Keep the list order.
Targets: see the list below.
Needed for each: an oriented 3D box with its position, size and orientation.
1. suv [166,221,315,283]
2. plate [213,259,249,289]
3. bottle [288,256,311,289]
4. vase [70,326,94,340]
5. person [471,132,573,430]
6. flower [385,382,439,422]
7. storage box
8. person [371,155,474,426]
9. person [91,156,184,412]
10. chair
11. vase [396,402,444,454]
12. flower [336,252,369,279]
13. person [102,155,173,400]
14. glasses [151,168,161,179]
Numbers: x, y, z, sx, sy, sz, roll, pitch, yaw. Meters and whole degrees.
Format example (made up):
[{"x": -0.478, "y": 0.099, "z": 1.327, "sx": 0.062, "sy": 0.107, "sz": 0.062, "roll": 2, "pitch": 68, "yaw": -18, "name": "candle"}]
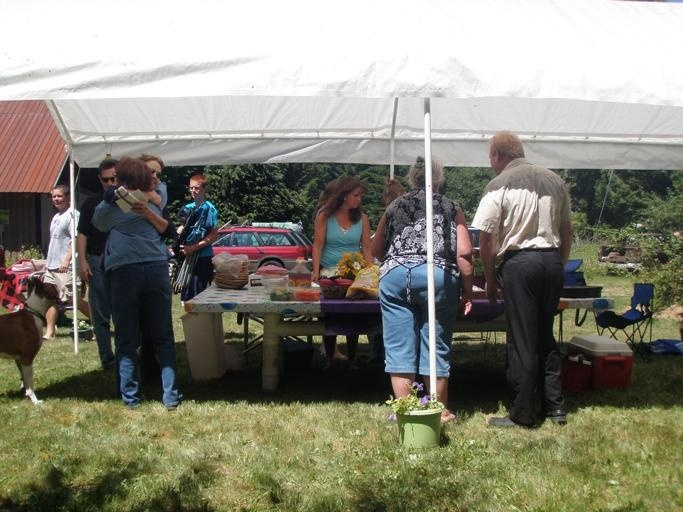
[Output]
[{"x": -1.637, "y": -0.172, "z": 17.408, "sx": 2.897, "sy": 1.260, "sz": 1.357, "roll": 2, "pitch": 1, "yaw": -3, "name": "suv"}, {"x": -1.080, "y": 0.190, "z": 8.280, "sx": 0.279, "sy": 0.239, "sz": 0.288, "roll": 2, "pitch": -5, "yaw": -11, "name": "plate"}, {"x": -0.390, "y": 0.167, "z": 8.171, "sx": 0.238, "sy": 0.478, "sz": 0.263, "roll": -1, "pitch": 2, "yaw": 6, "name": "bottle"}, {"x": -3.199, "y": 0.960, "z": 10.383, "sx": 0.194, "sy": 0.122, "sz": 0.157, "roll": -1, "pitch": 3, "yaw": -15, "name": "vase"}, {"x": 1.568, "y": 0.196, "z": 7.204, "sx": 0.808, "sy": 2.476, "sz": 0.563, "roll": 3, "pitch": 9, "yaw": 15, "name": "person"}, {"x": 0.533, "y": 1.199, "z": 6.863, "sx": 0.370, "sy": 0.271, "sz": 0.372, "roll": 2, "pitch": -7, "yaw": -29, "name": "flower"}, {"x": 2.590, "y": 1.009, "z": 8.308, "sx": 0.431, "sy": 0.474, "sz": 0.680, "roll": 1, "pitch": 0, "yaw": -1, "name": "storage box"}, {"x": 0.698, "y": 0.324, "z": 7.122, "sx": 0.876, "sy": 2.226, "sz": 0.670, "roll": 1, "pitch": 8, "yaw": 1, "name": "person"}, {"x": -1.844, "y": 0.262, "z": 7.641, "sx": 0.730, "sy": 2.309, "sz": 0.688, "roll": -6, "pitch": -11, "yaw": -1, "name": "person"}, {"x": 3.315, "y": 0.749, "z": 9.748, "sx": 0.527, "sy": 0.814, "sz": 0.546, "roll": -3, "pitch": 9, "yaw": -4, "name": "chair"}, {"x": 0.624, "y": 1.382, "z": 6.684, "sx": 0.309, "sy": 0.219, "sz": 0.321, "roll": -1, "pitch": -4, "yaw": -7, "name": "vase"}, {"x": 0.105, "y": 0.100, "z": 7.841, "sx": 0.274, "sy": 0.220, "sz": 0.208, "roll": 1, "pitch": 9, "yaw": 1, "name": "flower"}, {"x": -1.786, "y": 0.232, "z": 7.563, "sx": 0.818, "sy": 2.221, "sz": 0.660, "roll": 8, "pitch": 11, "yaw": 41, "name": "person"}, {"x": -1.802, "y": -0.798, "z": 8.174, "sx": 0.059, "sy": 0.040, "sz": 0.079, "roll": 8, "pitch": -16, "yaw": -17, "name": "glasses"}]
